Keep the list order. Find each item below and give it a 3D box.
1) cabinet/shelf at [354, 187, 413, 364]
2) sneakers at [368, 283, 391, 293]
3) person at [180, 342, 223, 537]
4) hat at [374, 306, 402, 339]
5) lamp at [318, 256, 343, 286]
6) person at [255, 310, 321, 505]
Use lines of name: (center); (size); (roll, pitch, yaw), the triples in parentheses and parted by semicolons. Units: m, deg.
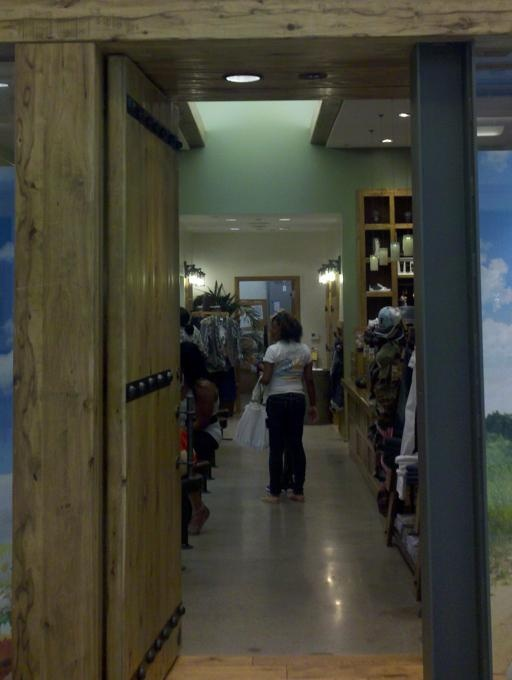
cabinet/shelf: (1.537, -0.970, 7.089); (0.632, 1.700, 1.243); (-1, -1, 15)
sneakers: (1.499, -0.623, 7.318); (0.138, 0.073, 0.170); (3, -10, -4)
person: (-0.462, 0.672, 4.367); (0.345, 1.479, 0.389); (0, -4, -12)
hat: (0.902, -0.113, 4.074); (0.170, 0.215, 0.200); (-1, -1, 16)
lamp: (1.346, -1.249, 10.784); (0.240, 0.355, 0.794); (1, -1, -5)
person: (0.262, 0.584, 5.107); (0.432, 1.642, 0.646); (-1, -1, 23)
